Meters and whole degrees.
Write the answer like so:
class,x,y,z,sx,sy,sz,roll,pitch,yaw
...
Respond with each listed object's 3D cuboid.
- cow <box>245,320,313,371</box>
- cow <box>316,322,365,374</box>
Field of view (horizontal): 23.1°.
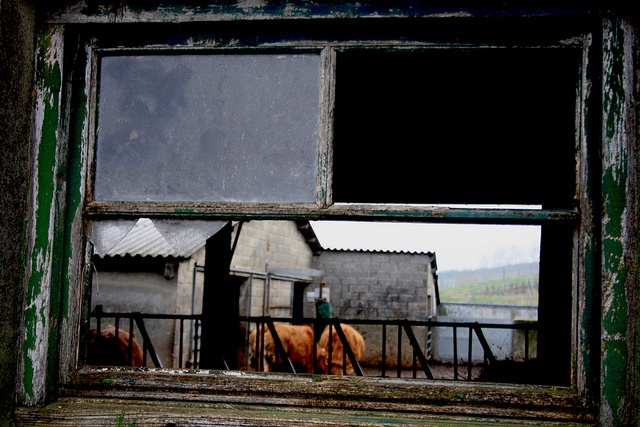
class,x,y,z,sx,sy,sz,roll,pitch,yaw
cow,-0.442,1.386,15.860,0.368,0.634,1.146,-2,-5,24
cow,0.240,1.483,16.701,0.550,0.681,0.781,2,-20,2
